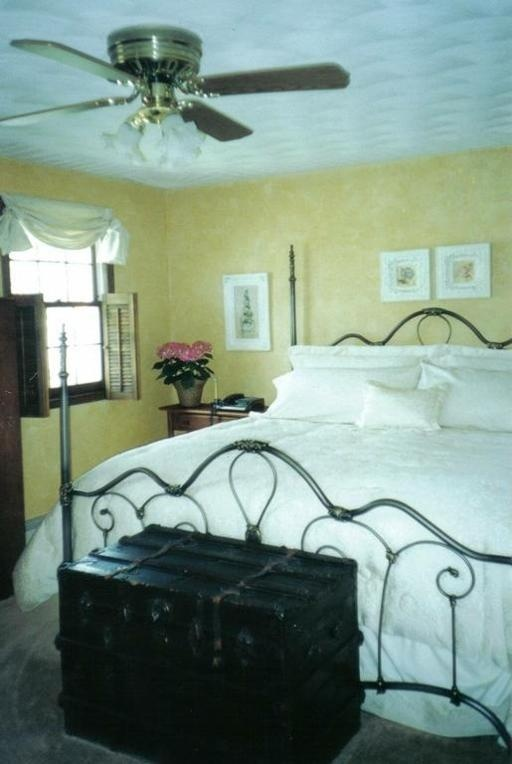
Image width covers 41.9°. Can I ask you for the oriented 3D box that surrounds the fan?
[{"bbox_3d":[-0.164,-0.692,1.744,0.585,0.131,0.598,-3,-6,38],"label":"fan"}]

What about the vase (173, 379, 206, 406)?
[{"bbox_3d":[-0.452,0.068,4.560,0.188,0.134,0.187,-1,3,-6],"label":"vase"}]

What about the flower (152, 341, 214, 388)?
[{"bbox_3d":[-0.484,-0.130,4.566,0.361,0.239,0.350,-1,1,-15],"label":"flower"}]
